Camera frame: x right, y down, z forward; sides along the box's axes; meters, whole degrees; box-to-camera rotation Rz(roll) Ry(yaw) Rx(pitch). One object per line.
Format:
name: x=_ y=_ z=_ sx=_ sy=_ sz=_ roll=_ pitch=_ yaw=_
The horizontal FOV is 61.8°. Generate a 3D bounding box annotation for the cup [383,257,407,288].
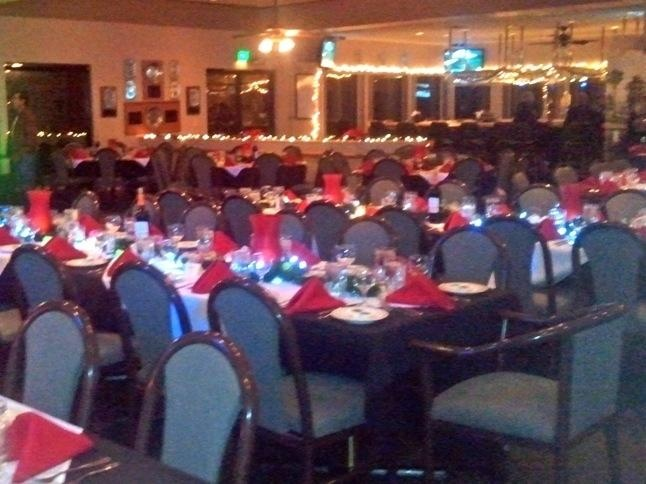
cup: x=0.321 y=0.130 z=2.456 sx=0.126 sy=0.130 sz=0.121 roll=0 pitch=15 yaw=0

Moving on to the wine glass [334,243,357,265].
wine glass: x=0.112 y=0.056 z=2.584 sx=0.097 sy=0.098 sz=0.092 roll=1 pitch=2 yaw=11

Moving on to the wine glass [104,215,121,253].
wine glass: x=-1.389 y=-0.053 z=3.562 sx=0.107 sy=0.118 sz=0.403 roll=24 pitch=7 yaw=-20

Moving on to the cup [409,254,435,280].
cup: x=0.464 y=0.109 z=2.504 sx=0.120 sy=0.082 sz=0.116 roll=-1 pitch=12 yaw=0
